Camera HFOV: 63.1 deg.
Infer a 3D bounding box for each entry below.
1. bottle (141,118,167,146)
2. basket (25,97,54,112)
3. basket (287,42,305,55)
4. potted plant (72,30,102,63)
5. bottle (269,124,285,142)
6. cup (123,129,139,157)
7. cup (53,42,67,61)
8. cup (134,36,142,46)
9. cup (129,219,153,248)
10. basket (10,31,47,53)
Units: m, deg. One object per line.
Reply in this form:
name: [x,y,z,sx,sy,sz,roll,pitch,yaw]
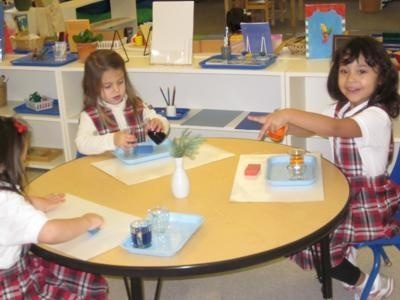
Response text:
bottle: [-0.264,-0.112,1.912,0.123,0.111,0.181,-17,52,-17]
basket: [-1.635,-0.478,3.320,0.212,0.075,0.153,-14,24,-41]
basket: [1.003,-1.051,3.399,0.136,0.094,0.150,-17,19,-41]
potted plant: [-1.052,-1.002,3.156,0.292,0.317,0.273,4,18,30]
bottle: [0.386,-0.085,1.619,0.067,0.035,0.084,2,20,16]
cup: [-0.398,-0.042,1.770,0.107,0.094,0.107,9,-13,2]
cup: [-1.351,-0.959,3.168,0.133,0.183,0.200,-13,19,-20]
cup: [-0.719,-1.271,3.794,0.138,0.109,0.063,11,25,43]
cup: [-0.180,0.275,1.087,0.076,0.086,0.080,-1,12,0]
basket: [-2.041,-1.298,3.934,0.285,0.135,0.255,11,23,32]
